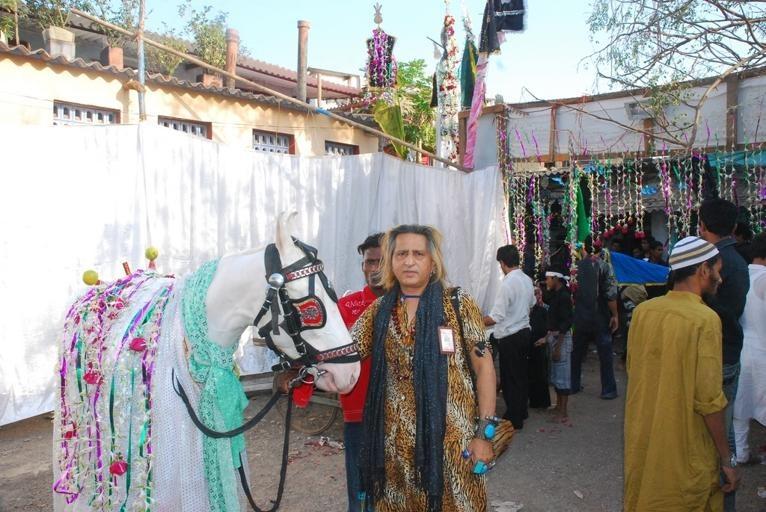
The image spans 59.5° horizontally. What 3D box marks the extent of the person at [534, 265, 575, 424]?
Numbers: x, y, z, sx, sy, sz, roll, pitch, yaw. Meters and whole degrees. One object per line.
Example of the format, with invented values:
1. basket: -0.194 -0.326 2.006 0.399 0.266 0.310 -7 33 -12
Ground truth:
1. person: 2.198 1.082 8.541 0.423 1.811 0.990 -1 5 15

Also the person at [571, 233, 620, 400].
1. person: 2.755 0.947 8.795 0.853 1.935 0.520 -5 6 -35

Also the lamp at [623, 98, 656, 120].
1. lamp: 4.041 -2.360 10.628 0.302 0.336 0.078 9 25 29

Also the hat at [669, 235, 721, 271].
1. hat: 2.578 0.026 5.534 0.291 0.163 0.315 -20 1 -7

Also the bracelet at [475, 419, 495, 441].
1. bracelet: 0.754 1.285 4.940 0.118 0.127 0.164 6 -9 5
